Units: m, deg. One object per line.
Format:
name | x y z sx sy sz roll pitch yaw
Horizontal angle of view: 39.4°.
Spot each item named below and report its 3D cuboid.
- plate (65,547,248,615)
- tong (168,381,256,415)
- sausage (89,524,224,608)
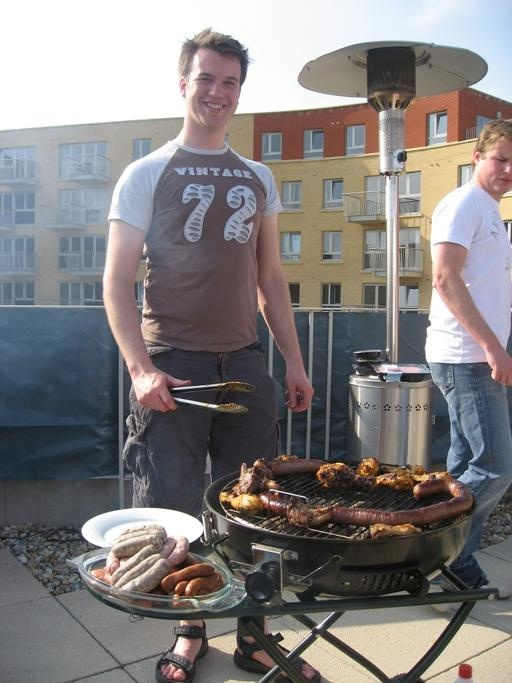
plate | -0.225 0.511 1.525 0.415 0.078 0.224 0 0 19
tong | -0.143 0.132 1.716 0.257 0.093 0.039 1 6 12
sausage | -0.211 0.469 1.506 0.139 0.046 0.206 -4 4 -30
